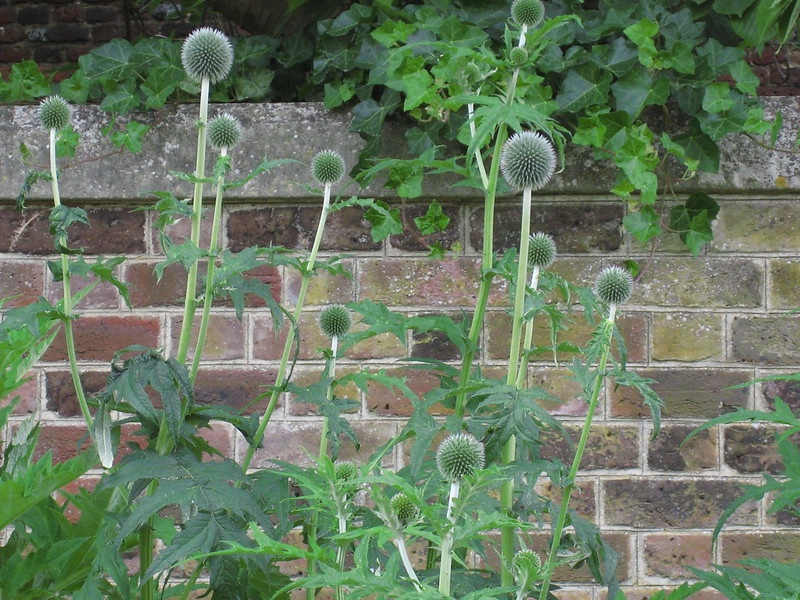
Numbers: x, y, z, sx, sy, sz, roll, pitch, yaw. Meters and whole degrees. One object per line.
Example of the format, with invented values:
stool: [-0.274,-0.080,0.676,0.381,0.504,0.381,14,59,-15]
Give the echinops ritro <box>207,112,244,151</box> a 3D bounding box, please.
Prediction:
echinops ritro: [-0.451,-0.422,3.932,0.102,0.100,0.100,-3,41,-3]

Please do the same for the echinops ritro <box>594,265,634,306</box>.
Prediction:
echinops ritro: [0.552,-0.027,3.915,0.103,0.101,0.114,-1,119,5]

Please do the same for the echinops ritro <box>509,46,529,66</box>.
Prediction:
echinops ritro: [0.294,-0.594,3.685,0.046,0.044,0.044,-3,91,-38]

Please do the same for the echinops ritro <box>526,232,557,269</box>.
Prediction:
echinops ritro: [0.369,-0.129,3.965,0.087,0.090,0.091,0,90,-2]

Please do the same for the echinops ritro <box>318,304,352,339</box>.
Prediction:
echinops ritro: [-0.178,0.062,4.043,0.085,0.089,0.089,1,92,29]

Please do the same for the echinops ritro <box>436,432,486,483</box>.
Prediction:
echinops ritro: [0.146,0.378,3.611,0.080,0.082,0.083,-13,86,6]

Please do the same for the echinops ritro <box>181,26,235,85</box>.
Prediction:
echinops ritro: [-0.499,-0.638,3.894,0.157,0.151,0.148,7,100,-11]

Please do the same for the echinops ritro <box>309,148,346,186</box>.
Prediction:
echinops ritro: [-0.190,-0.359,4.069,0.105,0.101,0.099,-5,97,-38]
